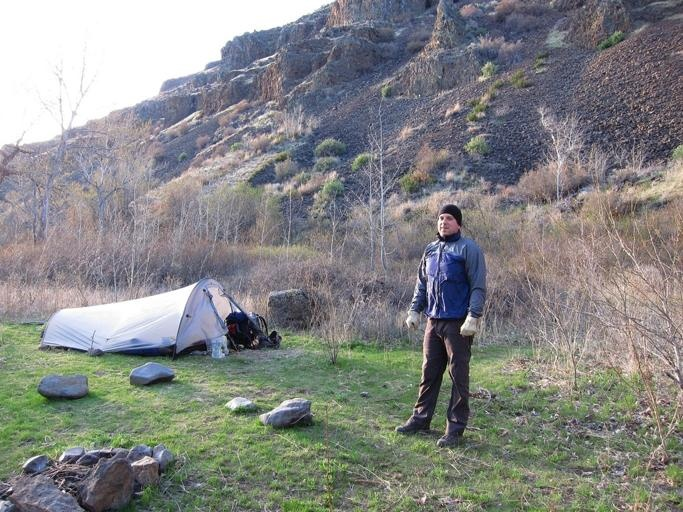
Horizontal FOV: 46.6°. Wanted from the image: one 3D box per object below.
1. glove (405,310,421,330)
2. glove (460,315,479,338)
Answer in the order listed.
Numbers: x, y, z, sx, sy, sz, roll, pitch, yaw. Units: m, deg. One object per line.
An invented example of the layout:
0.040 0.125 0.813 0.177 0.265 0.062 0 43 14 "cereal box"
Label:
1.853 1.714 20.804 0.305 0.505 0.452 0 -10 11 "glove"
3.203 1.781 20.096 0.420 0.535 0.258 -1 -5 9 "glove"
